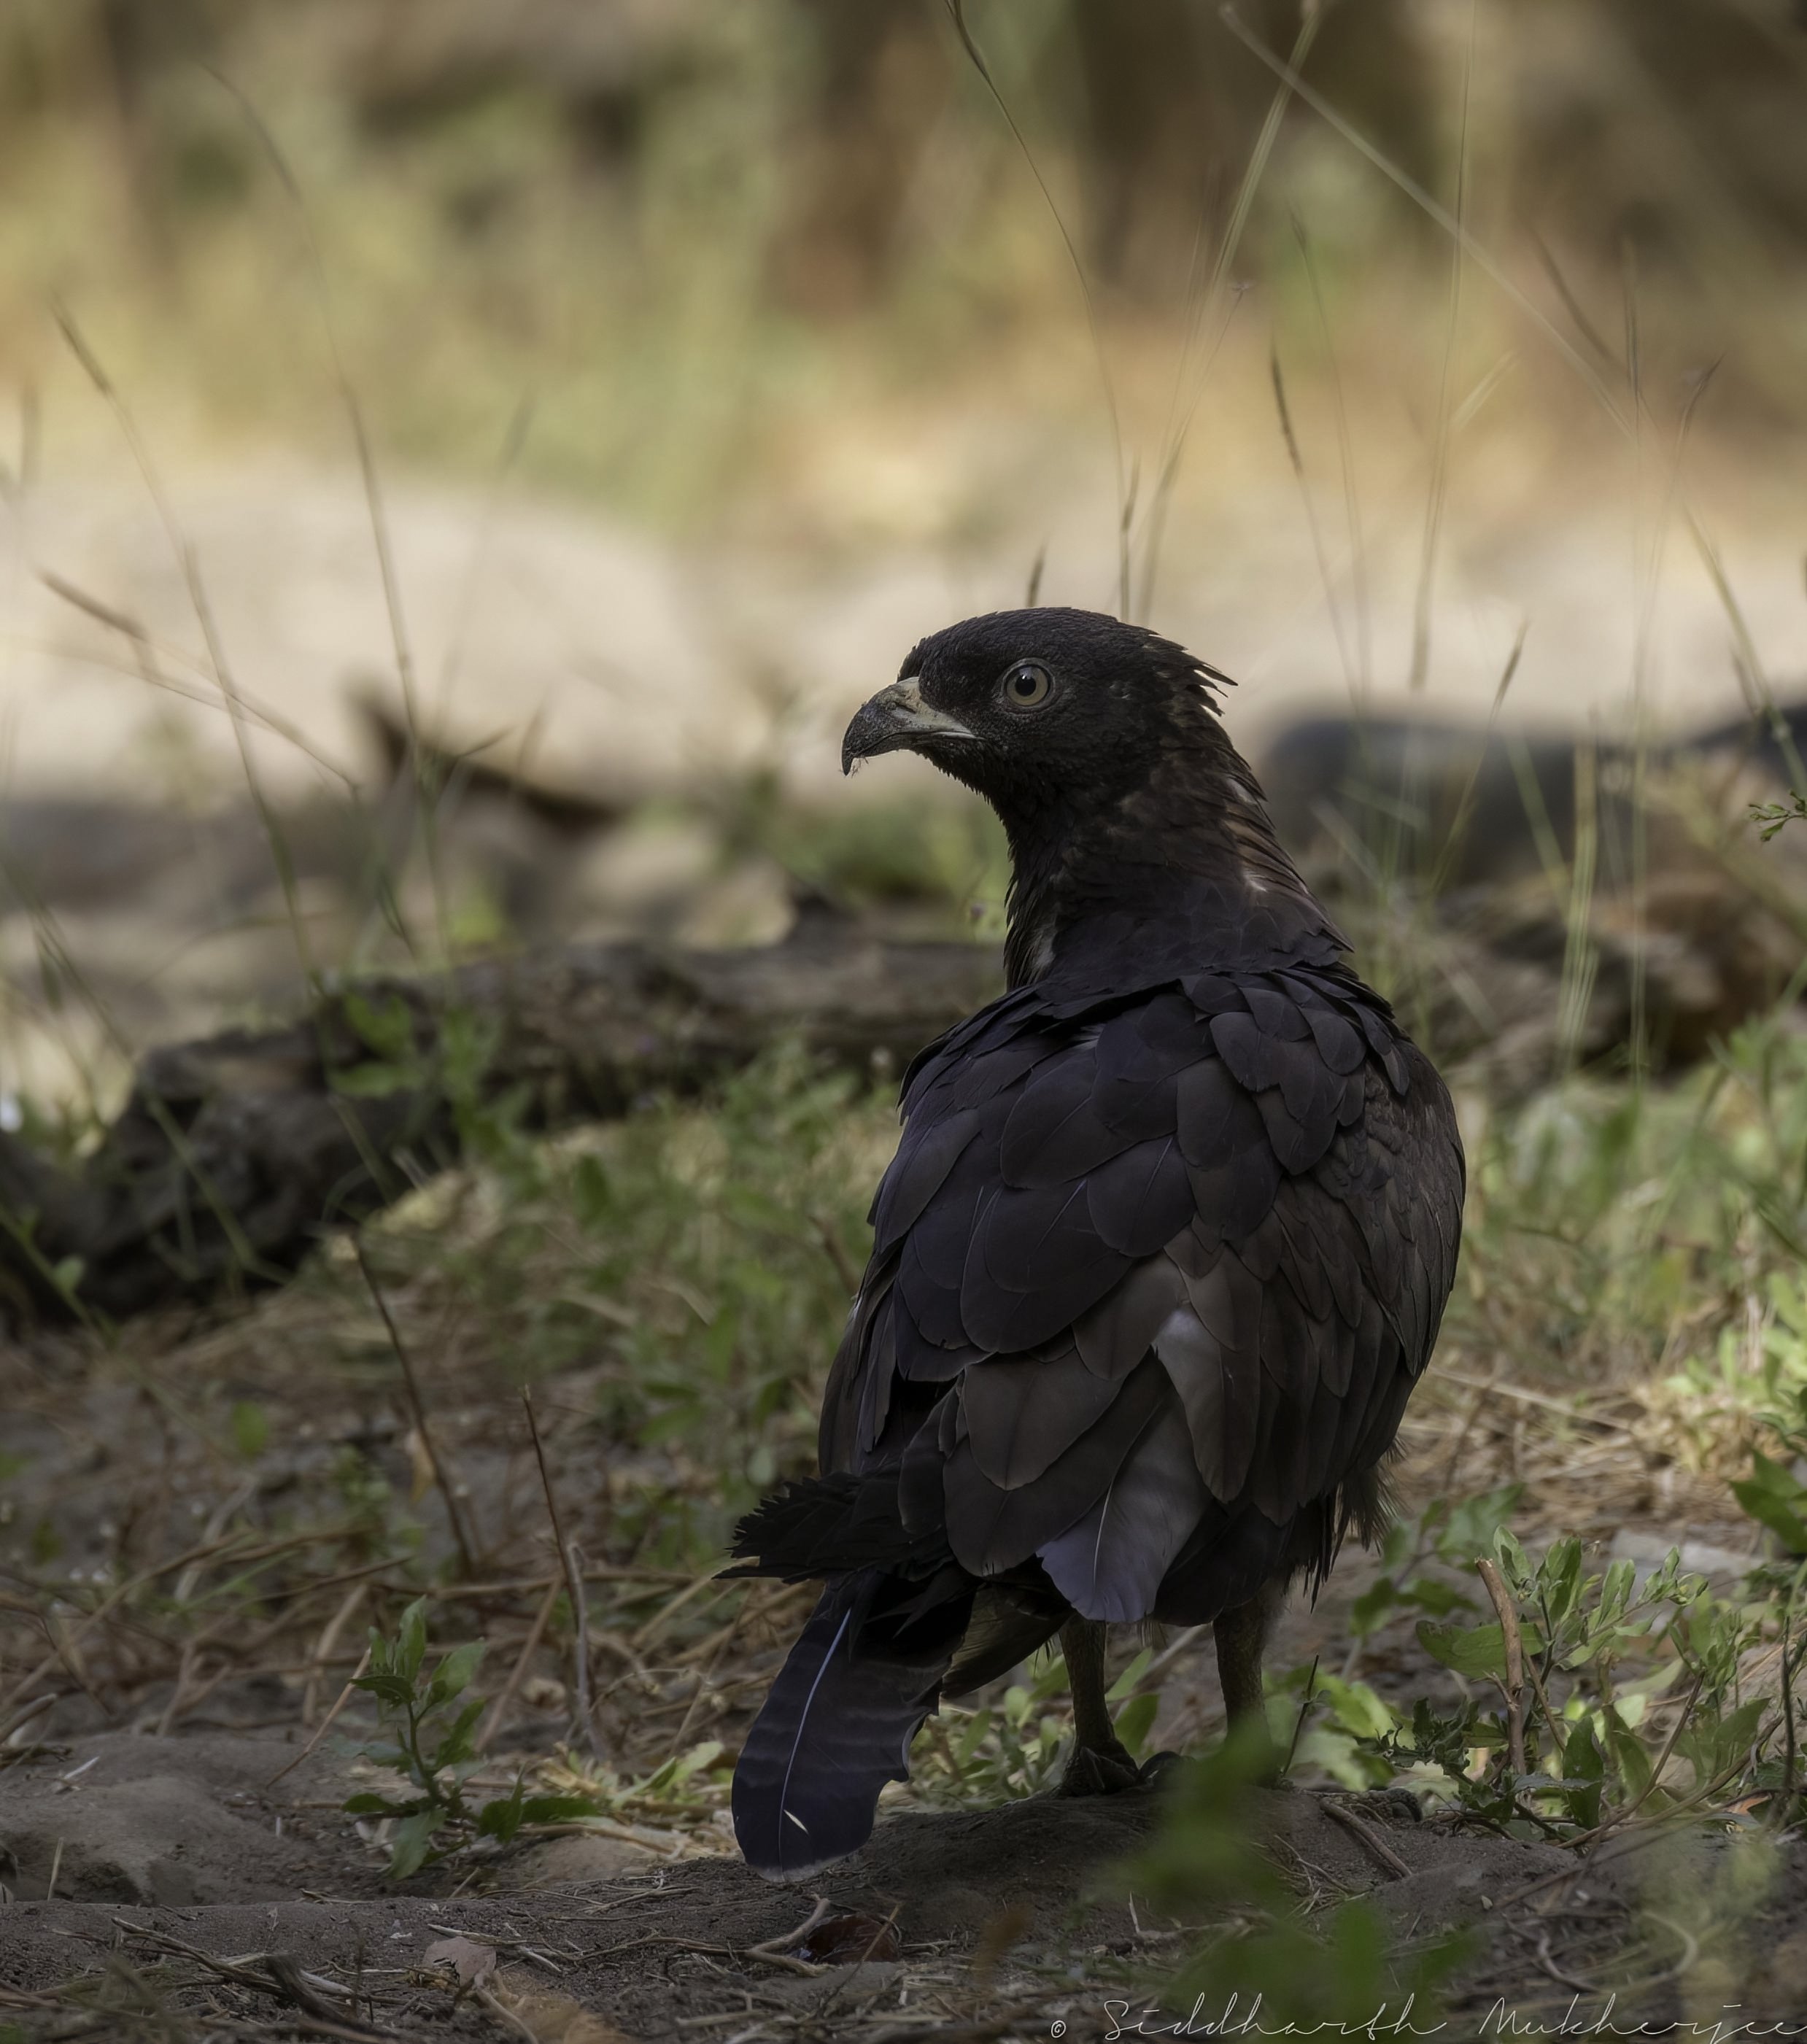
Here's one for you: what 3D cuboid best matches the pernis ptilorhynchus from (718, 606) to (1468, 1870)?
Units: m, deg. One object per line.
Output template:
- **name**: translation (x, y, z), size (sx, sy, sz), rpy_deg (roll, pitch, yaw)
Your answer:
- **pernis ptilorhynchus**: translation (0.340, 0.235, 4.006), size (0.971, 1.954, 0.912), rpy_deg (9, -13, -2)
